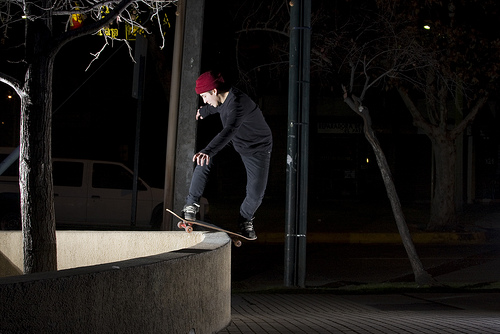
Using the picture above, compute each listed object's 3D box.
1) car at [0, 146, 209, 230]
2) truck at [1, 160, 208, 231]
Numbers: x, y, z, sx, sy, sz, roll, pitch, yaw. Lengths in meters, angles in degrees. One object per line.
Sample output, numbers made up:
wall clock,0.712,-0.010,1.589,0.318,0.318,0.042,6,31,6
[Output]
car,-4.398,0.810,14.041,5.138,2.142,2.603,1,-3,-7
truck,-4.214,0.833,13.081,5.237,1.912,2.660,1,-3,-5
